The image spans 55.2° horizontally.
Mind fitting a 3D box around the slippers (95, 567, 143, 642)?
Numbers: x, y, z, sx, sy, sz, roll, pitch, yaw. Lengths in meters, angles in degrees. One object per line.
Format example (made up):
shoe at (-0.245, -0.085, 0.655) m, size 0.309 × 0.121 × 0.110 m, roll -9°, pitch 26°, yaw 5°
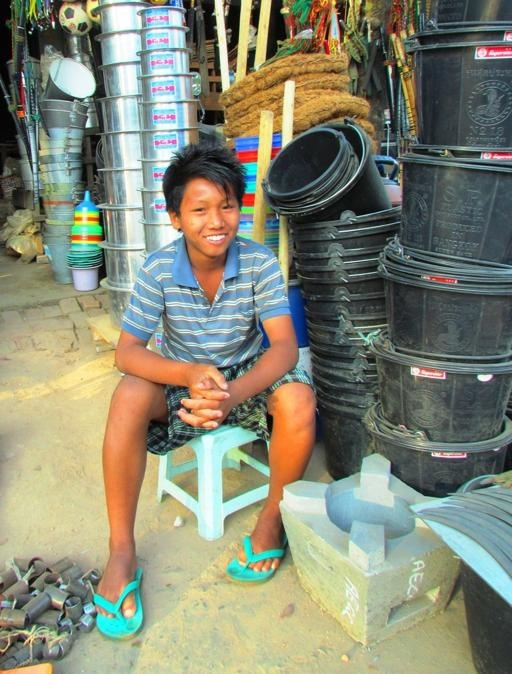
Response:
slippers at (-0.367, 0.734, 1.309) m, size 0.122 × 0.115 × 0.117 m, roll -6°, pitch 15°, yaw -20°
